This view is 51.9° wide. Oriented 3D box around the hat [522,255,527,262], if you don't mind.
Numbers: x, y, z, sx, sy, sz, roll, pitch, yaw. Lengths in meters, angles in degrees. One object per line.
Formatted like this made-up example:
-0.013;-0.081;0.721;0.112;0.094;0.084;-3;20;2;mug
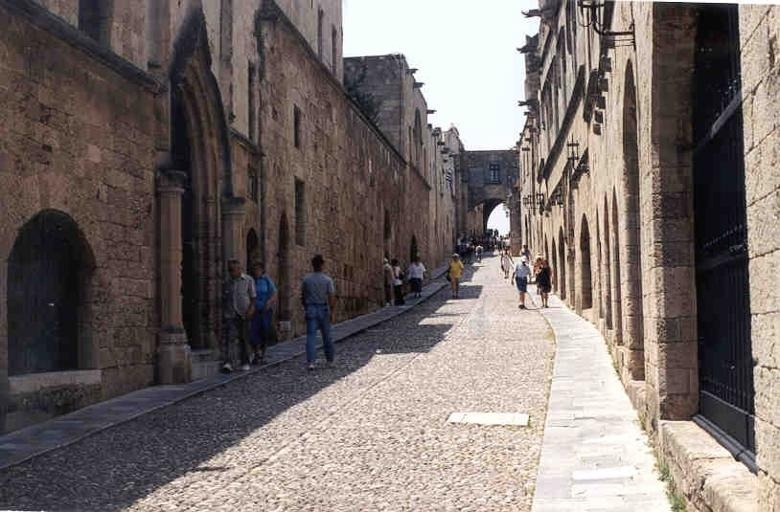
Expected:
4.187;0.052;24.767;0.202;0.119;0.336;-1;-6;8;hat

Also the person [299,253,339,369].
-1.245;0.940;13.742;0.548;1.899;1.444;-1;4;-5;person

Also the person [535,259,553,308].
4.700;0.734;24.333;0.478;1.634;0.438;-4;18;-2;person

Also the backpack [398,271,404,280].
0.402;0.713;27.534;0.207;0.321;0.425;1;0;2;backpack
